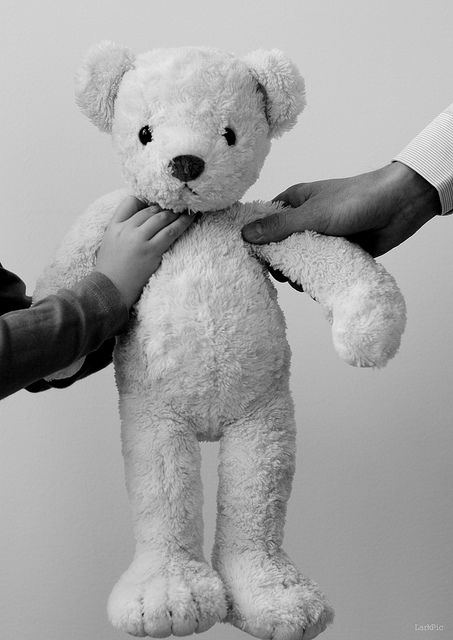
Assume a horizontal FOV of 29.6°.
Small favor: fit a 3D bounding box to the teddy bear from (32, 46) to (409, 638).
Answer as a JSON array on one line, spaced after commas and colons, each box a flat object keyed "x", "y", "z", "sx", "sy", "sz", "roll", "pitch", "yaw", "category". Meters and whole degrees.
[{"x": 0.025, "y": 0.021, "z": 1.234, "sx": 0.407, "sy": 0.834, "sz": 0.430, "roll": -2, "pitch": -27, "yaw": -26, "category": "teddy bear"}]
